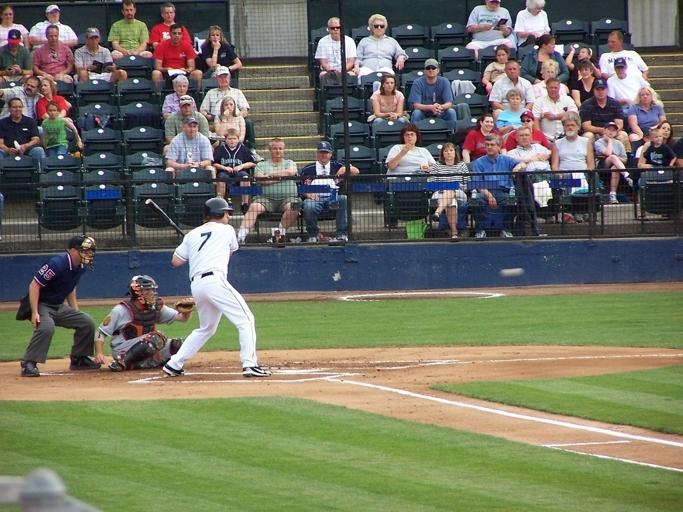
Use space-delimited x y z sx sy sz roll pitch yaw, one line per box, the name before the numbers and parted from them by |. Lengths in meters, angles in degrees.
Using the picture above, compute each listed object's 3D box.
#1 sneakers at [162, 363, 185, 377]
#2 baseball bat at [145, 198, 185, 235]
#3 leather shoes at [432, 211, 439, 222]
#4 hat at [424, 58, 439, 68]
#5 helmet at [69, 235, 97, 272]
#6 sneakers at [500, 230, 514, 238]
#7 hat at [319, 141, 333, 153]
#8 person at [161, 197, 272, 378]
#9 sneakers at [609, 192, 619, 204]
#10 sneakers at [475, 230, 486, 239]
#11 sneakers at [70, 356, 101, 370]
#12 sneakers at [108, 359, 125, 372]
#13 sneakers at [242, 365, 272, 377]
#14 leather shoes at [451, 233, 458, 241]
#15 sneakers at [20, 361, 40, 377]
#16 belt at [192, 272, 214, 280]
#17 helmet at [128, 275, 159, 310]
sneakers | -2.784 1.900 31.364 0.430 0.175 0.146 18 9 -17
baseball bat | -3.432 -0.807 37.034 0.954 0.134 0.154 44 -23 -16
leather shoes | 1.766 -0.764 37.366 0.147 0.168 0.076 -3 7 0
hat | 1.797 -4.032 39.688 0.238 0.161 0.305 0 -11 10
helmet | -4.299 -0.093 31.658 0.542 0.467 0.433 11 0 31
sneakers | 3.134 -0.432 37.436 0.200 0.127 0.099 -5 9 -26
hat | -0.381 -2.205 37.752 0.232 0.269 0.295 1 -2 1
person | -2.087 0.526 31.211 1.571 2.920 0.722 -4 7 -3
sneakers | 5.189 -1.147 37.253 0.166 0.236 0.112 -3 7 -3
sneakers | 2.653 -0.436 37.487 0.300 0.192 0.154 3 10 10
sneakers | -4.274 1.796 31.836 0.522 0.200 0.193 0 3 -6
sneakers | -3.741 1.823 31.719 0.156 0.109 0.255 16 4 -18
sneakers | -1.433 1.890 31.192 0.542 0.209 0.166 0 4 -7
leather shoes | 2.124 -0.385 37.454 0.141 0.093 0.252 1 5 4
sneakers | -5.101 1.868 31.425 0.159 0.161 0.389 2 -6 -37
belt | -2.266 0.315 30.931 0.186 0.039 0.168 -10 -5 -24
helmet | -3.268 0.572 31.581 0.578 0.522 0.448 5 6 30
